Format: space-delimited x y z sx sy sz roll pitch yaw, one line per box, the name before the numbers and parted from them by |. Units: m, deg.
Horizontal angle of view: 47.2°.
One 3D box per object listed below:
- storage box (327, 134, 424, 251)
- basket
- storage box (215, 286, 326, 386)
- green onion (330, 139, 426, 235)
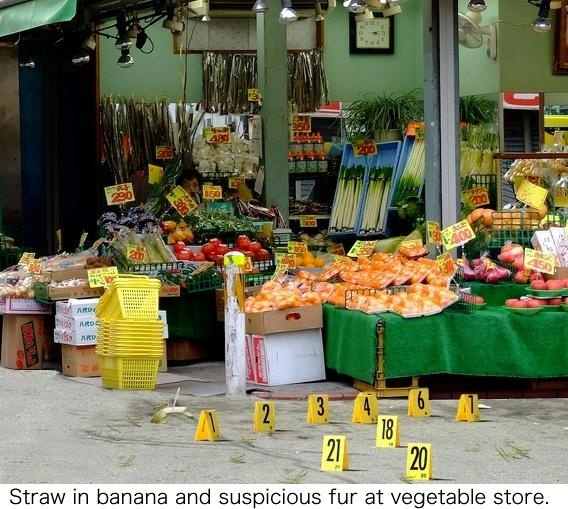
storage box | 1.224 -0.830 8.513 0.531 1.506 1.504 -1 -1 -38
basket | -1.175 0.605 4.949 0.476 0.848 0.298 -1 -1 -18
storage box | 0.013 0.702 5.034 0.617 0.613 0.366 -1 -1 -1
green onion | 1.241 -0.854 8.578 0.394 1.231 1.201 19 -14 -38
